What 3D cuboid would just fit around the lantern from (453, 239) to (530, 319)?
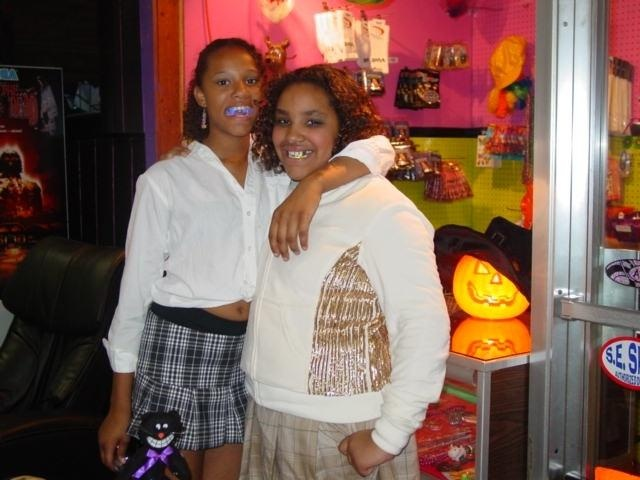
[{"bbox_3d":[0.800,0.240,2.420,0.305,0.300,0.319,16,-18,-2],"label":"lantern"}]
